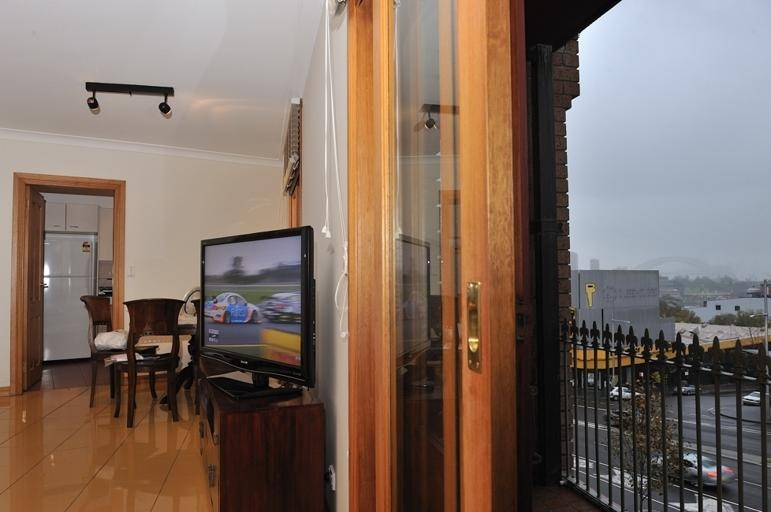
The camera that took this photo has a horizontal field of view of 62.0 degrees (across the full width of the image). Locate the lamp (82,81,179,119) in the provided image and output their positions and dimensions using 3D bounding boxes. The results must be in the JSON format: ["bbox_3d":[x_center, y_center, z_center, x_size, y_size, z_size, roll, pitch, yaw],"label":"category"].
[{"bbox_3d":[-2.294,-1.378,5.768,0.740,0.290,0.226,-2,7,-24],"label":"lamp"}]

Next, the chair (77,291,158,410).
[{"bbox_3d":[-2.598,0.931,6.278,0.765,1.049,0.729,0,-3,-40],"label":"chair"}]

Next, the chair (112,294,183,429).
[{"bbox_3d":[-2.202,0.954,5.903,0.555,1.148,0.705,3,-5,-34],"label":"chair"}]

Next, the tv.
[{"bbox_3d":[-0.847,0.401,4.265,1.123,0.877,0.300,-4,-8,42],"label":"tv"}]

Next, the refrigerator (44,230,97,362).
[{"bbox_3d":[-4.359,0.564,8.579,0.784,1.702,0.624,-1,7,-45],"label":"refrigerator"}]

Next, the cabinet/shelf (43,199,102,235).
[{"bbox_3d":[-4.184,-0.499,8.510,0.625,0.435,0.367,1,-3,-30],"label":"cabinet/shelf"}]
